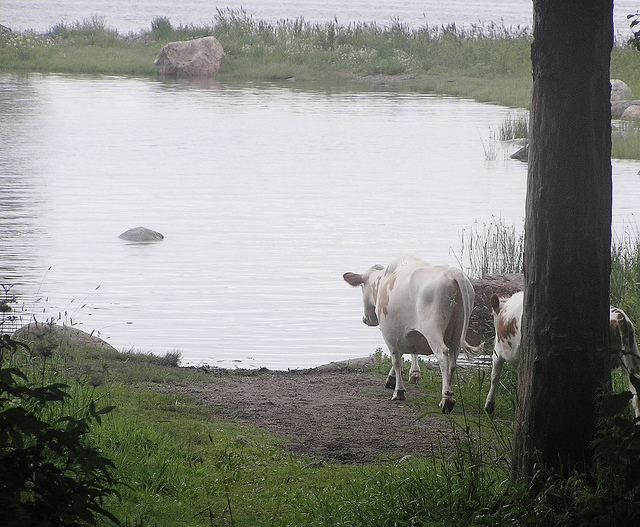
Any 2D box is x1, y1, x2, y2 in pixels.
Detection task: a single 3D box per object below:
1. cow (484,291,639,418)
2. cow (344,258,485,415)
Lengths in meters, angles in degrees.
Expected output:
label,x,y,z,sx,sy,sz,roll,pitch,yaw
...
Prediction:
label,x,y,z,sx,sy,sz,roll,pitch,yaw
cow,2.975,0.997,16.426,0.884,1.825,3.594,-2,8,-11
cow,1.199,0.948,18.018,0.927,2.025,3.203,1,-1,-22
